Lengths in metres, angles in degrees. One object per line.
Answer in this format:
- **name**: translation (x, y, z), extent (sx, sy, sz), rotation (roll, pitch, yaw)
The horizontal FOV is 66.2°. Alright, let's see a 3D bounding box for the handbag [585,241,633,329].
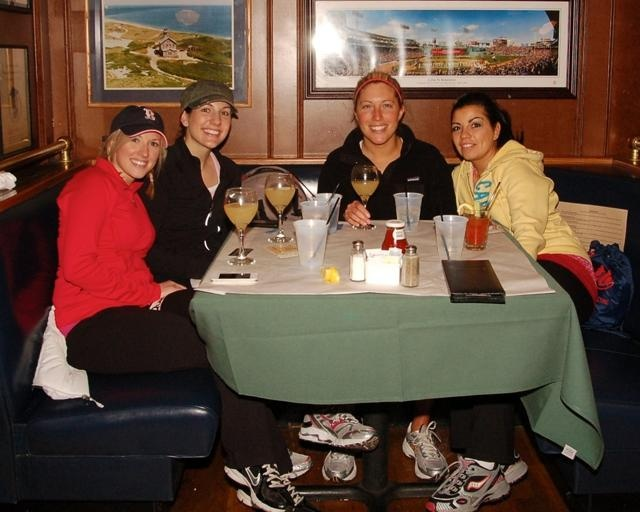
- **handbag**: translation (1.291, 0.133, 2.228), extent (0.213, 0.369, 0.117), rotation (8, -14, -3)

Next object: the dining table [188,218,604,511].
- **dining table**: translation (0.227, 0.299, 1.508), extent (1.131, 0.601, 0.443), rotation (-3, 14, 3)

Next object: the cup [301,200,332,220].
- **cup**: translation (-0.020, -0.162, 1.645), extent (0.070, 0.060, 0.080), rotation (0, 8, 0)

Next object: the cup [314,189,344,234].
- **cup**: translation (0.040, -0.157, 1.787), extent (0.121, 0.177, 0.148), rotation (5, 25, 7)

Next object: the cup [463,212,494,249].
- **cup**: translation (0.519, -0.085, 1.629), extent (0.102, 0.122, 0.105), rotation (1, 9, 0)

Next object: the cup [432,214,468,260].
- **cup**: translation (0.390, -0.061, 1.576), extent (0.125, 0.142, 0.126), rotation (0, 4, 0)

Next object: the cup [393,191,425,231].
- **cup**: translation (0.340, -0.181, 1.954), extent (0.131, 0.148, 0.139), rotation (-1, 12, 0)

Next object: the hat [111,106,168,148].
- **hat**: translation (-0.717, -0.506, 1.931), extent (0.132, 0.097, 0.179), rotation (0, 8, -39)

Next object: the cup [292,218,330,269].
- **cup**: translation (-0.028, -0.043, 1.524), extent (0.127, 0.142, 0.134), rotation (-1, 14, 0)
